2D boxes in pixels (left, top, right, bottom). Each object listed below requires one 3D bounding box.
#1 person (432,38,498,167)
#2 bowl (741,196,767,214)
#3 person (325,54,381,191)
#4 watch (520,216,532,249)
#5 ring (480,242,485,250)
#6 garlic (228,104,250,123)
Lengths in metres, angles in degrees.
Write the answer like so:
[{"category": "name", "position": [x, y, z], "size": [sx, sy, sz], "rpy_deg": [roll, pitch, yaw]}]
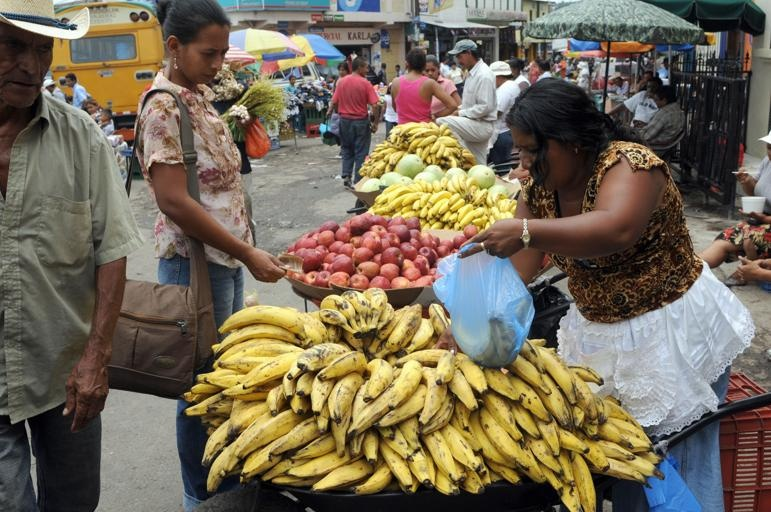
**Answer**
[{"category": "person", "position": [1.098, -1.911, 8.767], "size": [0.780, 1.986, 0.899], "rpy_deg": [20, 30, 34]}, {"category": "bowl", "position": [3.557, -0.478, 6.244], "size": [0.183, 0.145, 0.194], "rpy_deg": [1, -1, 0]}, {"category": "person", "position": [-0.608, -2.399, 11.636], "size": [0.893, 2.442, 1.126], "rpy_deg": [2, 9, 17]}, {"category": "watch", "position": [0.575, -0.091, 2.639], "size": [0.042, 0.115, 0.034], "rpy_deg": [6, 14, 11]}, {"category": "ring", "position": [0.408, -0.044, 2.721], "size": [0.009, 0.021, 0.025], "rpy_deg": [-13, -23, -4]}, {"category": "garlic", "position": [-1.504, -1.460, 6.658], "size": [0.193, 0.126, 0.244], "rpy_deg": [27, 15, -8]}]
